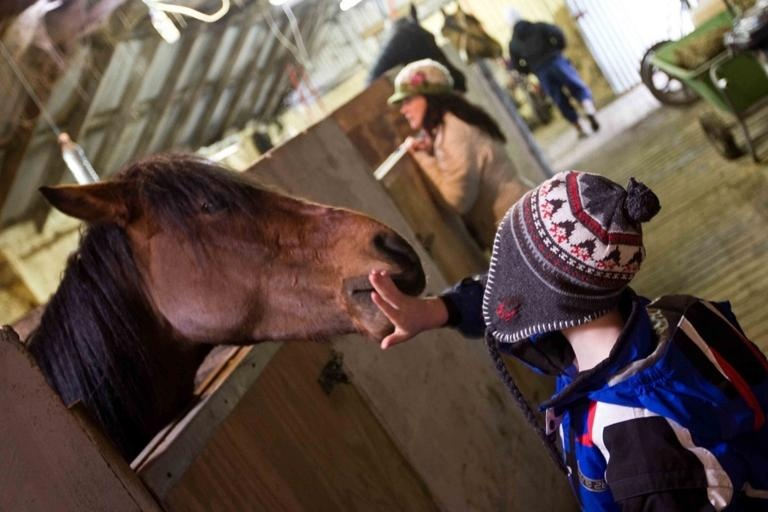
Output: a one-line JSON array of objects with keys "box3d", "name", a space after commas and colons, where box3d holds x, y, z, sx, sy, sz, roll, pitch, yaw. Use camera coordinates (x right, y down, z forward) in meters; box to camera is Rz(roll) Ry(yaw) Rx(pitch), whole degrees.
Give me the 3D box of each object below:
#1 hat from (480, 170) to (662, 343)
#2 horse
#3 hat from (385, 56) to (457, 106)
[{"box3d": [0.644, -0.009, 2.325, 0.451, 0.438, 0.637, -36, -29, -62], "name": "hat"}, {"box3d": [-0.680, 0.185, 2.695, 1.657, 1.337, 0.728, -7, 18, 19], "name": "horse"}, {"box3d": [0.230, -1.078, 4.133, 0.128, 0.267, 0.612, -19, 18, 48], "name": "hat"}]
